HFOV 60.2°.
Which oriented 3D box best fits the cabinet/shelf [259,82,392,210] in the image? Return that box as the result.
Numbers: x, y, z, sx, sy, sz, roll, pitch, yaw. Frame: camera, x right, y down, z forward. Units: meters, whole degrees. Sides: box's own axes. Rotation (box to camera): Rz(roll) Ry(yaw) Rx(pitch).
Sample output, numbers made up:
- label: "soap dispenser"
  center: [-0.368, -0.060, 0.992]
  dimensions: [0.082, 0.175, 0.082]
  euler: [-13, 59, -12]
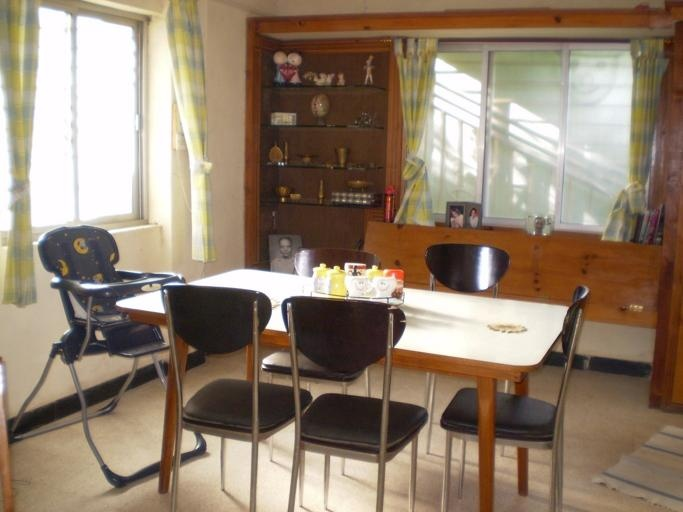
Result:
- label: "cabinet/shelf"
  center: [-0.121, -1.021, 5.362]
  dimensions: [1.024, 1.025, 0.318]
  euler: [2, 5, 18]

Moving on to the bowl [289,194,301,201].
- label: "bowl"
  center: [-0.422, -0.539, 5.445]
  dimensions: [0.072, 0.043, 0.073]
  euler: [-3, 10, 0]

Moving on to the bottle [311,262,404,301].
- label: "bottle"
  center: [0.068, 0.136, 3.020]
  dimensions: [0.304, 0.122, 0.234]
  euler: [3, 4, 31]

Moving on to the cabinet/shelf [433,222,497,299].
- label: "cabinet/shelf"
  center: [0.827, 0.039, 3.951]
  dimensions: [0.468, 0.695, 0.455]
  euler: [3, 6, 15]

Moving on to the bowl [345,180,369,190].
- label: "bowl"
  center: [0.148, -0.627, 5.321]
  dimensions: [0.194, 0.092, 0.195]
  euler: [1, 12, 0]

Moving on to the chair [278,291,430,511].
- label: "chair"
  center: [0.064, 0.640, 2.631]
  dimensions: [0.611, 1.022, 0.368]
  euler: [3, 12, 9]

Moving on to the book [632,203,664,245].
- label: "book"
  center: [2.263, -0.226, 4.359]
  dimensions: [0.064, 0.271, 0.252]
  euler: [3, 10, -6]

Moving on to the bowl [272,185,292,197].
- label: "bowl"
  center: [-0.556, -0.596, 5.479]
  dimensions: [0.114, 0.085, 0.119]
  euler: [1, 8, 0]

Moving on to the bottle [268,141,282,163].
- label: "bottle"
  center: [-0.597, -0.945, 5.381]
  dimensions: [0.142, 0.239, 0.160]
  euler: [0, 8, 10]

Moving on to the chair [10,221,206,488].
- label: "chair"
  center: [-1.297, 0.408, 4.125]
  dimensions: [1.370, 1.909, 1.117]
  euler: [11, 13, 34]

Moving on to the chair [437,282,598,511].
- label: "chair"
  center: [0.796, 0.737, 2.851]
  dimensions: [0.614, 1.238, 0.512]
  euler: [6, 13, 21]
